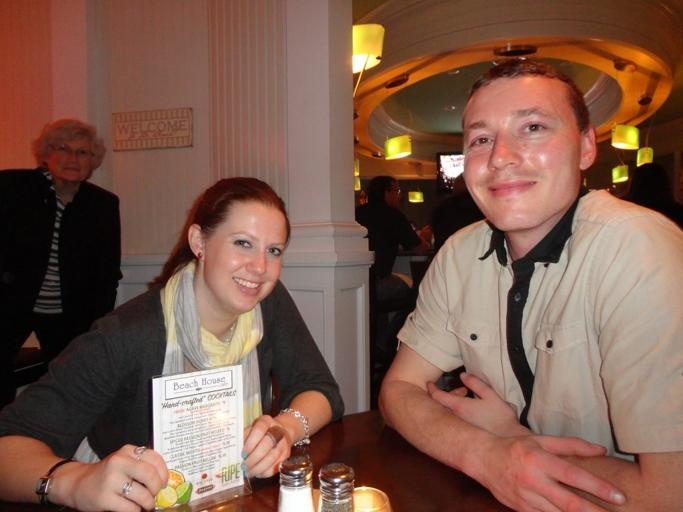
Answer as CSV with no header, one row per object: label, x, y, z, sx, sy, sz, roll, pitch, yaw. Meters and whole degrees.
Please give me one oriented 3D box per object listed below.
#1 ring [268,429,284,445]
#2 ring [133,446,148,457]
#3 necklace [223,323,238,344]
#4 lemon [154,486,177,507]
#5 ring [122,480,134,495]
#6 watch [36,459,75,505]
ring,-0.196,0.538,1.512,0.029,0.014,0.039,16,19,0
ring,-0.529,0.519,1.340,0.024,0.018,0.031,2,-19,-37
necklace,-0.423,0.297,1.952,0.054,0.075,0.044,3,-21,-9
lemon,-0.461,0.640,1.339,0.050,0.039,0.051,27,4,-9
ring,-0.559,0.608,1.330,0.030,0.031,0.011,-2,-11,6
watch,-0.819,0.636,1.425,0.056,0.095,0.094,2,32,24
